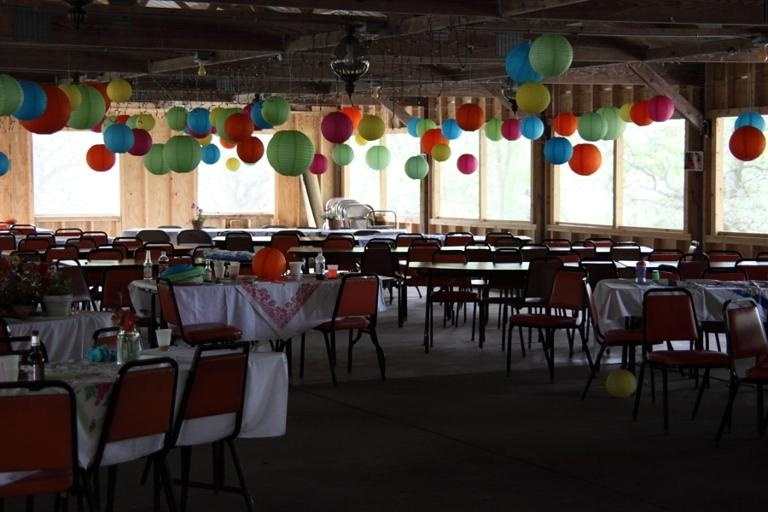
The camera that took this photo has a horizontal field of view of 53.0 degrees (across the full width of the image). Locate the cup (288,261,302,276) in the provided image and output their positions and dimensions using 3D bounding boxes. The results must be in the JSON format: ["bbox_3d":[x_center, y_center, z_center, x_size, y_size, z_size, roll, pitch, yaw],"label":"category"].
[{"bbox_3d":[-1.030,0.152,8.951,0.145,0.124,0.149,2,3,0],"label":"cup"}]

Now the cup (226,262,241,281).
[{"bbox_3d":[-1.667,0.177,8.621,0.128,0.194,0.198,0,-7,-7],"label":"cup"}]

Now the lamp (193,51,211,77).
[{"bbox_3d":[-2.701,-2.885,11.517,0.238,0.330,0.536,-3,12,-12],"label":"lamp"}]

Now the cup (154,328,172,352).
[{"bbox_3d":[-1.754,0.657,5.994,0.161,0.178,0.156,3,-2,0],"label":"cup"}]

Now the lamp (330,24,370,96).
[{"bbox_3d":[-0.363,-2.087,8.225,0.386,0.729,0.379,0,11,-1],"label":"lamp"}]
